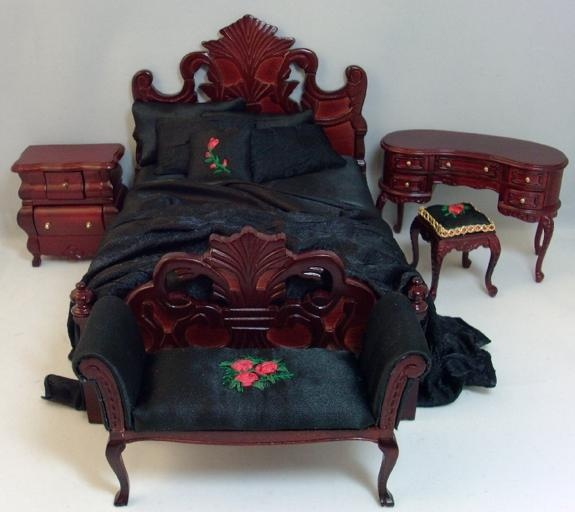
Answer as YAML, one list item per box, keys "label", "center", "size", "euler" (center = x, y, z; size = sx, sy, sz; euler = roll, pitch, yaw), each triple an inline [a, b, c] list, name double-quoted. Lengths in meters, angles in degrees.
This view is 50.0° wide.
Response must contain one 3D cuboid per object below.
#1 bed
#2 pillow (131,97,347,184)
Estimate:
- label: "bed"
  center: [-0.263, -0.425, 4.016]
  size: [1.963, 1.173, 1.926]
  euler: [0, 46, -6]
- label: "pillow"
  center: [-0.316, -0.803, 4.246]
  size: [1.304, 0.550, 0.782]
  euler: [-5, 14, -19]
